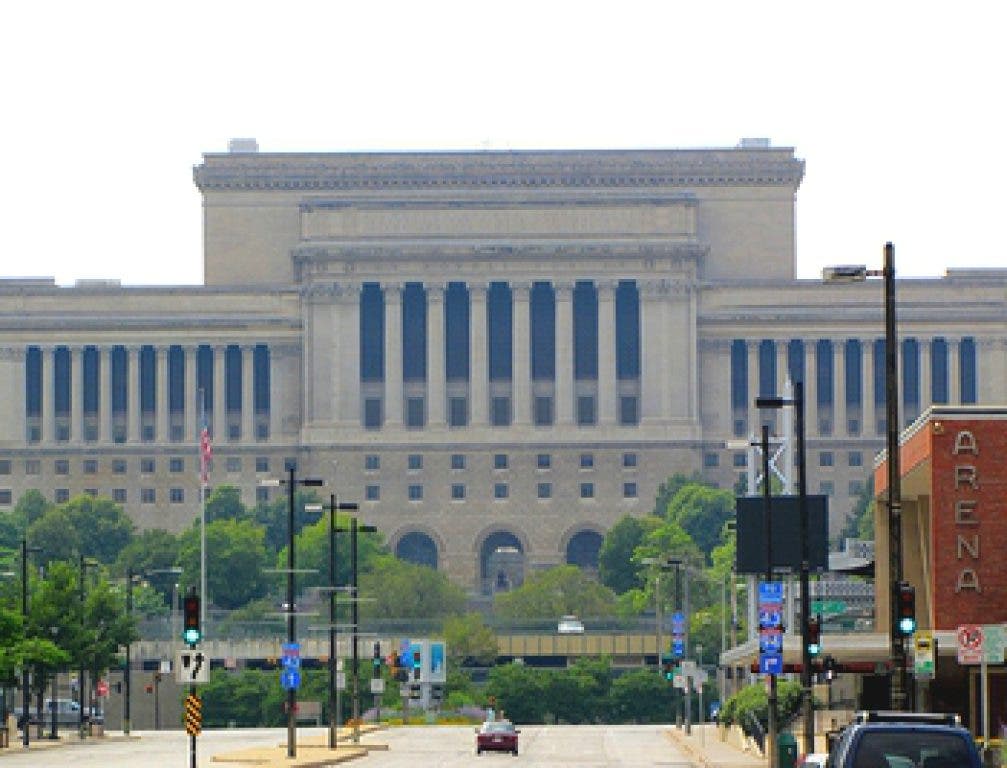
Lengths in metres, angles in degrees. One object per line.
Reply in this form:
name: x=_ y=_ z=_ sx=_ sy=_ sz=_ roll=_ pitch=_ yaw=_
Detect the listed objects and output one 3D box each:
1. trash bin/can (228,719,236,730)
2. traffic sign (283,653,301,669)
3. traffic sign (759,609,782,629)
trash bin/can: x=-20.095 y=24.936 z=250.163 sx=0.536 sy=0.523 sz=0.384 roll=-1 pitch=-7 yaw=-1
traffic sign: x=-12.487 y=16.387 z=200.710 sx=0.786 sy=0.765 sz=1.535 roll=-9 pitch=-12 yaw=33
traffic sign: x=14.615 y=12.956 z=187.153 sx=0.979 sy=0.895 sz=0.137 roll=1 pitch=1 yaw=7
